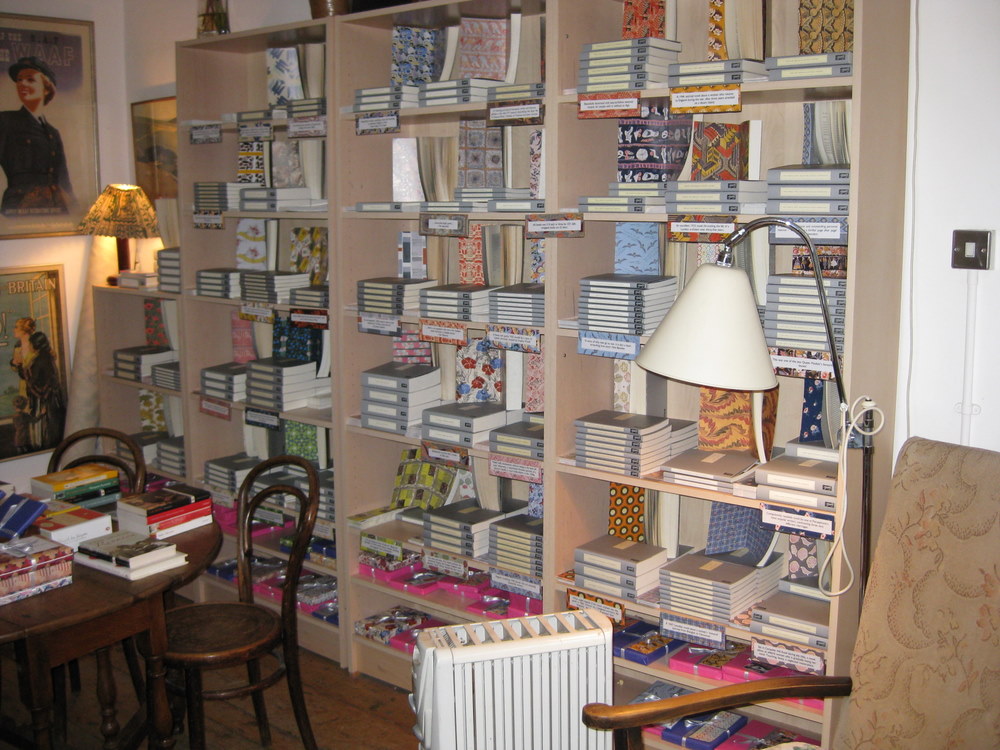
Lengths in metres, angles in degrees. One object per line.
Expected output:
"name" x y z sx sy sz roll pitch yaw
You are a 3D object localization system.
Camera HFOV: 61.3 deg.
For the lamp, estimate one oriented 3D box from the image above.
"lamp" -2.167 -0.790 4.799 0.422 0.589 0.387 3 30 -19
